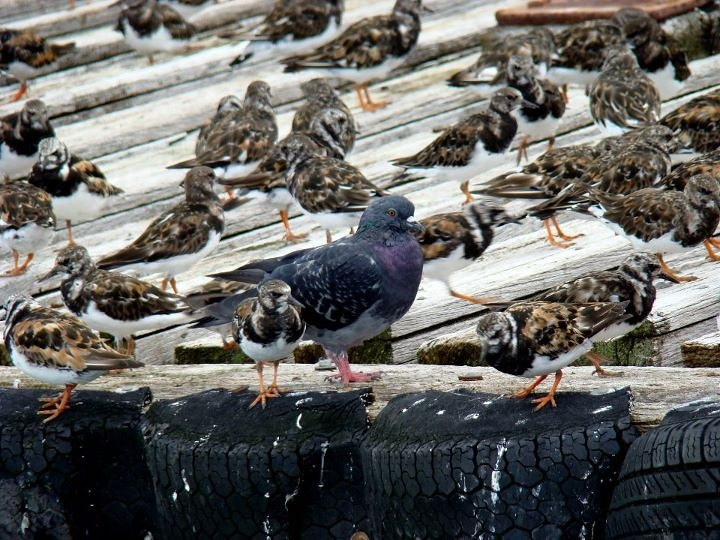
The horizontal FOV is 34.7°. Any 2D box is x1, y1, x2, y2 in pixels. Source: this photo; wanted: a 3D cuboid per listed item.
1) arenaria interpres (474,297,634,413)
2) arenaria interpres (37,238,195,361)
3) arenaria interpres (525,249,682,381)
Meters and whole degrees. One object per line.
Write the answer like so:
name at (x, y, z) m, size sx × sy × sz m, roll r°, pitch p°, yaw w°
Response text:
arenaria interpres at (1.120, 0.439, 6.868) m, size 1.185 × 0.589 × 0.495 m, roll -18°, pitch 17°, yaw -34°
arenaria interpres at (-1.728, 0.247, 8.263) m, size 1.336 × 0.716 × 0.459 m, roll 2°, pitch 6°, yaw -38°
arenaria interpres at (1.223, 0.248, 7.331) m, size 1.616 × 0.746 × 0.478 m, roll 3°, pitch 5°, yaw -16°
